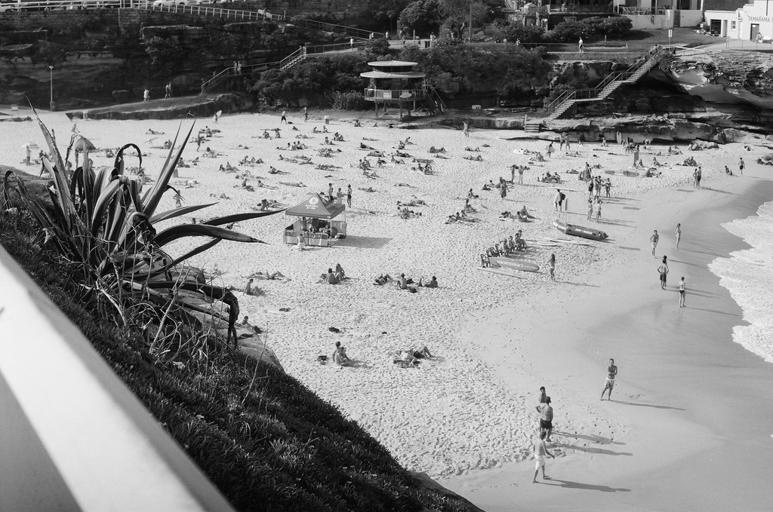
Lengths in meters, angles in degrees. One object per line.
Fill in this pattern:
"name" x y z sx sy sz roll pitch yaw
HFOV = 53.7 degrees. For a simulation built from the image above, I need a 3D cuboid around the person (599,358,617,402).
"person" 6.091 3.187 20.923 0.395 1.012 1.292 4 19 17
